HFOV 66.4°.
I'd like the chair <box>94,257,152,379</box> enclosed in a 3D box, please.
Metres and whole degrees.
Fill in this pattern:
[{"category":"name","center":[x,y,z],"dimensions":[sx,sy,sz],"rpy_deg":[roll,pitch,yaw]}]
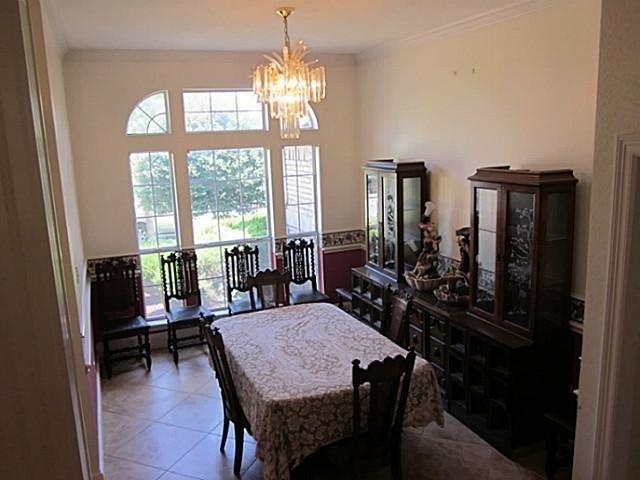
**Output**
[{"category":"chair","center":[-2.405,0.868,5.910],"dimensions":[0.590,1.249,0.554],"rpy_deg":[-8,5,-22]}]

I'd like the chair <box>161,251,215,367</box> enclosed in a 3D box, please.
[{"category":"chair","center":[-1.597,0.791,5.871],"dimensions":[0.498,1.177,0.508],"rpy_deg":[-6,15,-20]}]

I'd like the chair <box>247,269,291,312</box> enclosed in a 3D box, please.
[{"category":"chair","center":[-0.570,0.551,5.365],"dimensions":[0.316,0.597,0.338],"rpy_deg":[-6,32,-16]}]

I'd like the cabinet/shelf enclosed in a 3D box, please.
[{"category":"cabinet/shelf","center":[1.146,0.379,4.752],"dimensions":[0.630,2.159,2.335],"rpy_deg":[-10,15,-25]}]

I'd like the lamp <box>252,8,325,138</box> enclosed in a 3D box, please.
[{"category":"lamp","center":[-0.268,-1.528,4.690],"dimensions":[0.613,1.047,1.778],"rpy_deg":[-2,13,-2]}]
